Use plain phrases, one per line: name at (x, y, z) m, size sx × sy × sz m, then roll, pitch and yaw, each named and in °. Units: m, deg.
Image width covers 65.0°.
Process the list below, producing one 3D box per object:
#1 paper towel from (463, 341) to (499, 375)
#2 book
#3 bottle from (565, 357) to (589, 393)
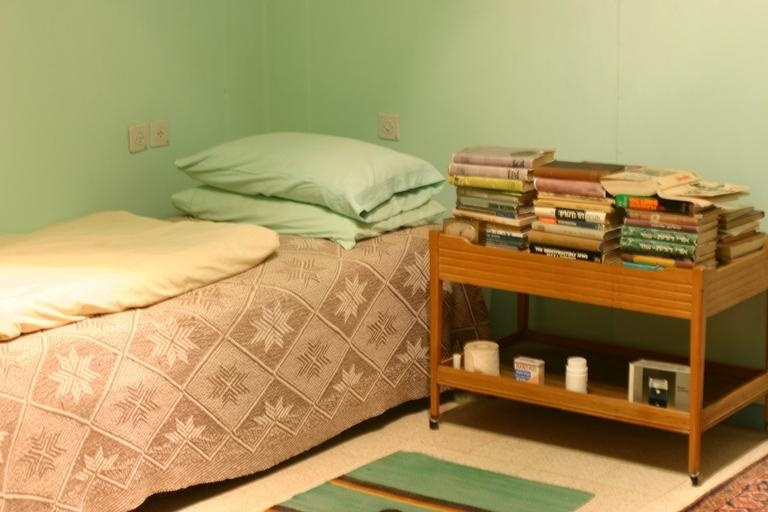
paper towel at (0.392, 0.420, 2.405) m, size 0.138 × 0.137 × 0.154 m, roll 2°, pitch 9°, yaw 28°
book at (0.756, -0.196, 2.172) m, size 1.037 × 0.381 × 0.321 m, roll 6°, pitch 16°, yaw 30°
bottle at (0.708, 0.453, 2.217) m, size 0.086 × 0.135 × 0.082 m, roll 2°, pitch 3°, yaw 0°
